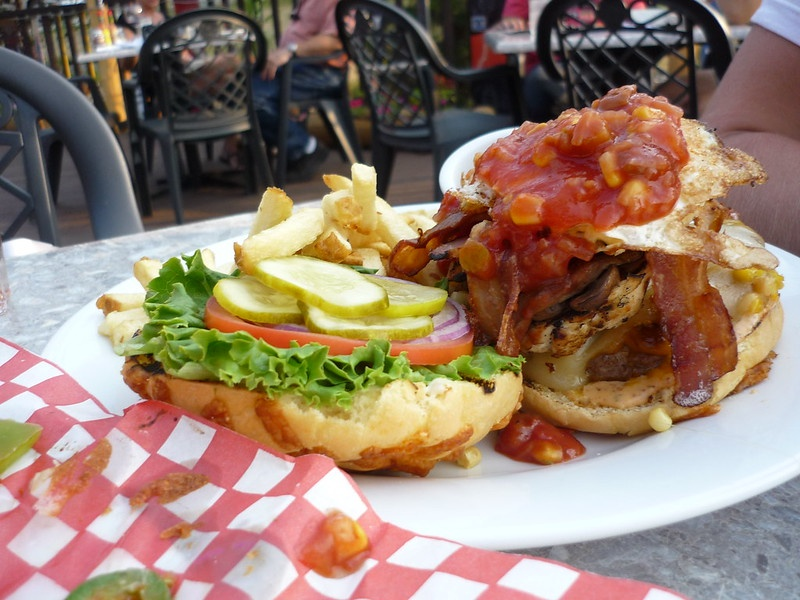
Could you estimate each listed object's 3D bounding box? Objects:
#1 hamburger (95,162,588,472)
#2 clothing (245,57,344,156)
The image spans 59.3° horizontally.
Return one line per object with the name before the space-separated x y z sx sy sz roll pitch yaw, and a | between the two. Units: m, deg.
hamburger | -0.118 0.069 1.222 0.785 0.244 0.601 15 22 -8
clothing | -0.923 -1.698 6.379 1.010 0.677 0.719 -21 38 -30
